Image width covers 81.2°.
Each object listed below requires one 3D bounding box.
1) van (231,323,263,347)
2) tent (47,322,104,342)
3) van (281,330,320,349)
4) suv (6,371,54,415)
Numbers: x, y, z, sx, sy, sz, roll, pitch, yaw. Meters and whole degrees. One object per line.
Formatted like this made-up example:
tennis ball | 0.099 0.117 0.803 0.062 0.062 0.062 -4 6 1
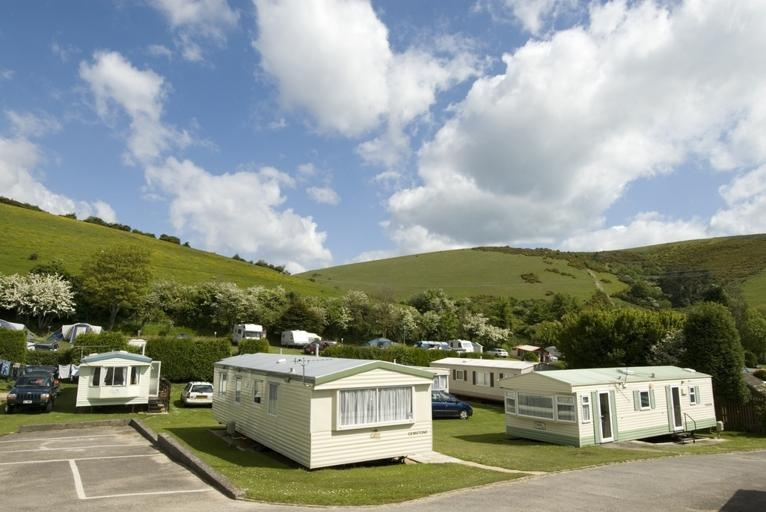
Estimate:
van | -16.997 9.916 55.510 3.325 2.420 4.799 6 -16 -26
tent | -37.031 9.099 53.093 4.335 1.885 4.039 4 -5 -36
van | -13.014 12.313 66.306 3.505 1.798 3.357 6 -12 -38
suv | -22.579 8.850 28.649 2.331 2.246 2.126 2 -4 -23
